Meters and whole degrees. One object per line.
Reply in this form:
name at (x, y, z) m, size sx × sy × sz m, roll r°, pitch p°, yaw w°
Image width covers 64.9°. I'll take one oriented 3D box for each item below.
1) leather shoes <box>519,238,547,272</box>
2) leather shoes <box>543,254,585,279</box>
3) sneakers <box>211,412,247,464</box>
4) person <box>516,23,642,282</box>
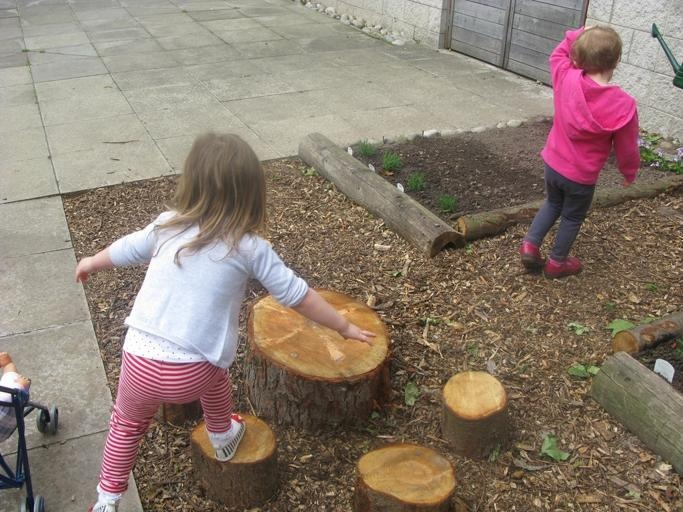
leather shoes at (1.547, -0.006, 4.411) m, size 0.127 × 0.337 × 0.155 m, roll -3°, pitch 57°, yaw 41°
leather shoes at (1.829, 0.094, 4.397) m, size 0.329 × 0.217 × 0.141 m, roll -19°, pitch 64°, yaw -4°
sneakers at (-0.622, 1.004, 3.024) m, size 0.115 × 0.128 × 0.296 m, roll 0°, pitch 27°, yaw 4°
person at (1.905, -0.764, 4.200) m, size 0.678 × 1.778 × 0.923 m, roll 8°, pitch 39°, yaw 7°
